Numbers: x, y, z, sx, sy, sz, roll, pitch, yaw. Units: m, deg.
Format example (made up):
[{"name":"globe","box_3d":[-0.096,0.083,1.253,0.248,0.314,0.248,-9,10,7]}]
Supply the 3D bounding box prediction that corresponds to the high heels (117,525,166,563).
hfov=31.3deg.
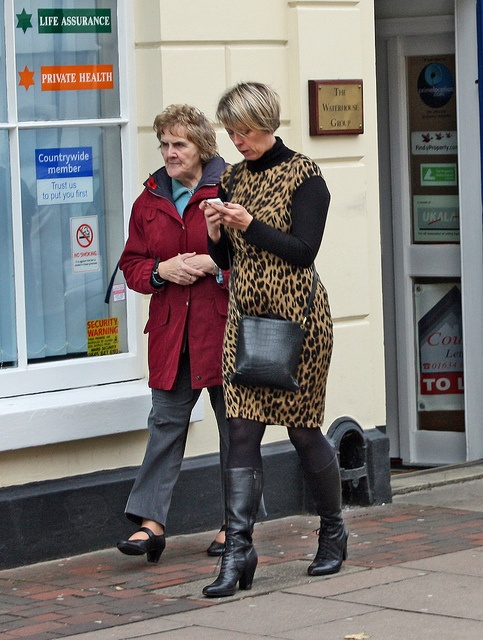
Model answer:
[{"name":"high heels","box_3d":[-0.367,0.899,3.436,0.090,0.128,0.260,-7,-24,33]}]

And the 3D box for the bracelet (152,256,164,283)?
[{"name":"bracelet","box_3d":[-0.330,-0.210,3.499,0.037,0.072,0.058,3,0,6]}]

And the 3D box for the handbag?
[{"name":"handbag","box_3d":[0.094,0.109,2.845,0.241,0.212,0.089,10,2,22]}]

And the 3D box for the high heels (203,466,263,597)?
[{"name":"high heels","box_3d":[-0.028,0.718,2.922,0.153,0.426,0.235,-7,-5,32]}]

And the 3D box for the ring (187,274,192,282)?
[{"name":"ring","box_3d":[-0.205,-0.170,3.382,0.022,0.027,0.008,-3,6,-20]}]
